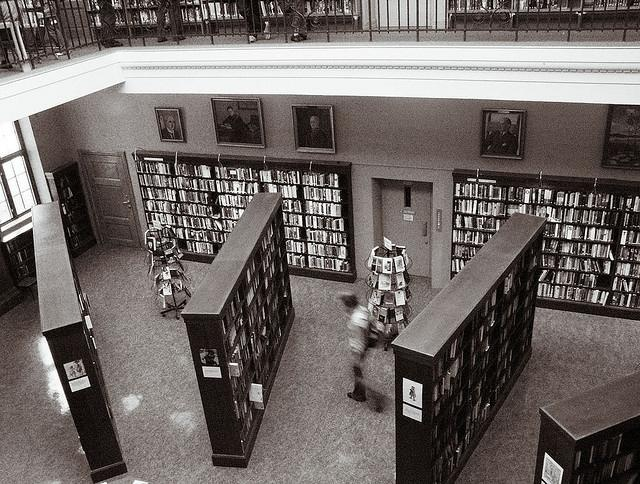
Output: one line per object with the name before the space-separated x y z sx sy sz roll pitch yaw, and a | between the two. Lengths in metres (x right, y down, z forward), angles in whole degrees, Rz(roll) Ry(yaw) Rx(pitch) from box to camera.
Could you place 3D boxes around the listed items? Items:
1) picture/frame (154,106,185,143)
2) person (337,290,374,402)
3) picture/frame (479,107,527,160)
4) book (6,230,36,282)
picture/frame | -3.165 -2.546 10.501 0.668 0.839 0.054 7 29 18
person | 0.588 1.462 7.468 0.524 1.823 0.766 0 25 7
picture/frame | 3.144 -1.909 8.456 0.757 0.915 0.072 8 25 22
book | -6.175 0.253 10.201 0.277 1.036 0.574 11 33 11
